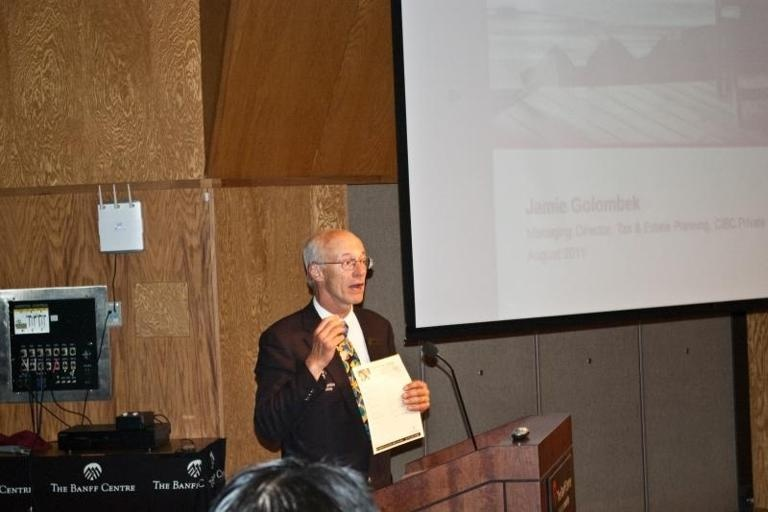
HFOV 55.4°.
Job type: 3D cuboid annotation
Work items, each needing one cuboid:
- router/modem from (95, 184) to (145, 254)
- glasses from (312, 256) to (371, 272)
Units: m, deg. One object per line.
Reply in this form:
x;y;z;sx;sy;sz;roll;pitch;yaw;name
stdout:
-1.580;-0.220;4.345;0.239;0.394;0.042;-6;7;-24;router/modem
-0.243;0.051;4.202;0.186;0.050;0.147;-12;-12;33;glasses
